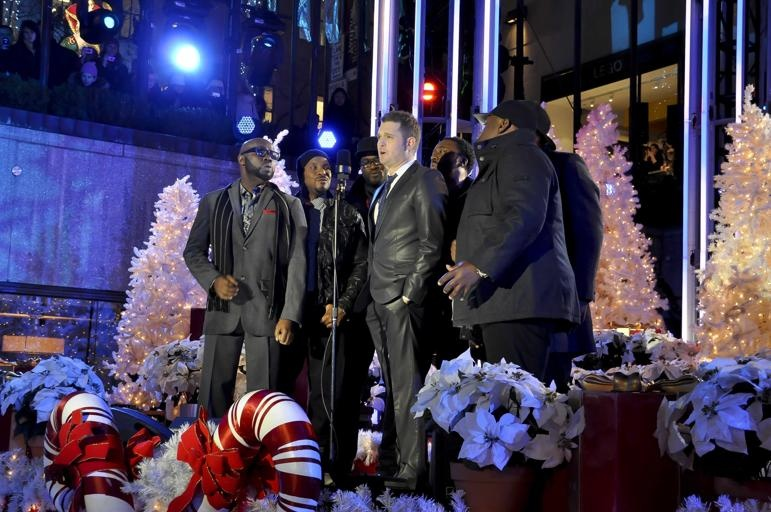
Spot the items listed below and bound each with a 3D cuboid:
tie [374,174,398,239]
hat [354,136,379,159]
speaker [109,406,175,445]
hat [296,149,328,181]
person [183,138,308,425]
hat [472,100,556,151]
[{"bbox_3d":[0.060,-0.317,4.846,0.090,0.360,0.268,16,-13,-22],"label":"tie"},{"bbox_3d":[-0.150,-0.883,5.971,0.185,0.150,0.179,-1,5,9],"label":"hat"},{"bbox_3d":[-1.353,0.973,4.052,0.129,0.099,0.344,40,25,29],"label":"speaker"},{"bbox_3d":[-0.594,-0.717,5.870,0.225,0.304,0.145,8,22,-23],"label":"hat"},{"bbox_3d":[-1.019,0.320,5.094,0.806,2.256,0.612,3,10,-6],"label":"person"},{"bbox_3d":[0.831,-0.786,4.464,0.396,0.208,0.275,29,10,-2],"label":"hat"}]
